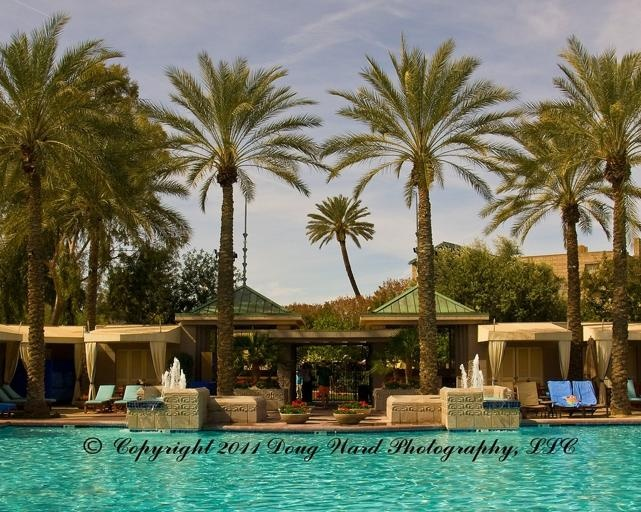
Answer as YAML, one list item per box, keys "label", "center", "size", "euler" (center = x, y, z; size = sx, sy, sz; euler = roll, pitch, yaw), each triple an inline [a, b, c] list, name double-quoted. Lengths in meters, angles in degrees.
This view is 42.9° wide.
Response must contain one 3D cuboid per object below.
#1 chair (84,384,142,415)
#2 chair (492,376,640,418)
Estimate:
- label: "chair"
  center: [-7.777, 5.446, 31.089]
  size: [2.085, 1.071, 2.120]
  euler: [0, 1, -1]
- label: "chair"
  center: [8.339, 5.122, 28.516]
  size: [2.673, 1.298, 2.089]
  euler: [0, 1, 0]
